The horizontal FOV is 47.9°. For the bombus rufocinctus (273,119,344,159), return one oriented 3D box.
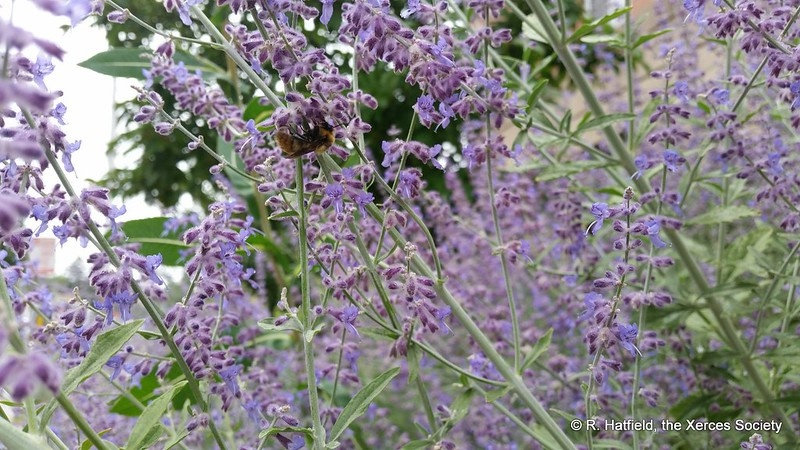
[{"bbox_3d":[-0.357,-0.322,3.377,0.184,0.063,0.138,-18,-41,2],"label":"bombus rufocinctus"}]
